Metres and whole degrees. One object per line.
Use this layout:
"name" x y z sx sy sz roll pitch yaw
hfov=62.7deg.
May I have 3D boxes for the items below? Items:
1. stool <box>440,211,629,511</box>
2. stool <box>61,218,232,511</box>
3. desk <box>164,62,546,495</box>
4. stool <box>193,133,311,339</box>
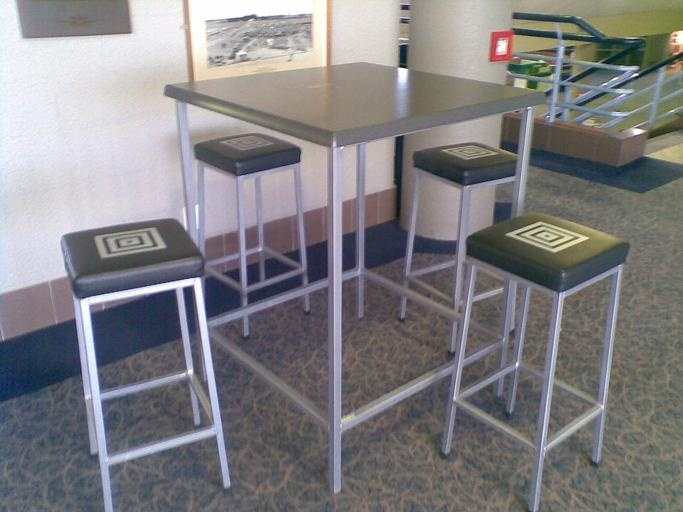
"stool" 0.852 0.384 2.456 0.844 1.021 0.728 -23 35 -37
"stool" -0.818 0.447 2.307 0.566 1.009 0.674 -15 31 -25
"desk" 0.339 -0.153 3.525 1.923 2.610 1.889 -20 33 -33
"stool" -0.496 -0.122 3.164 0.712 1.006 0.699 2 4 -23
